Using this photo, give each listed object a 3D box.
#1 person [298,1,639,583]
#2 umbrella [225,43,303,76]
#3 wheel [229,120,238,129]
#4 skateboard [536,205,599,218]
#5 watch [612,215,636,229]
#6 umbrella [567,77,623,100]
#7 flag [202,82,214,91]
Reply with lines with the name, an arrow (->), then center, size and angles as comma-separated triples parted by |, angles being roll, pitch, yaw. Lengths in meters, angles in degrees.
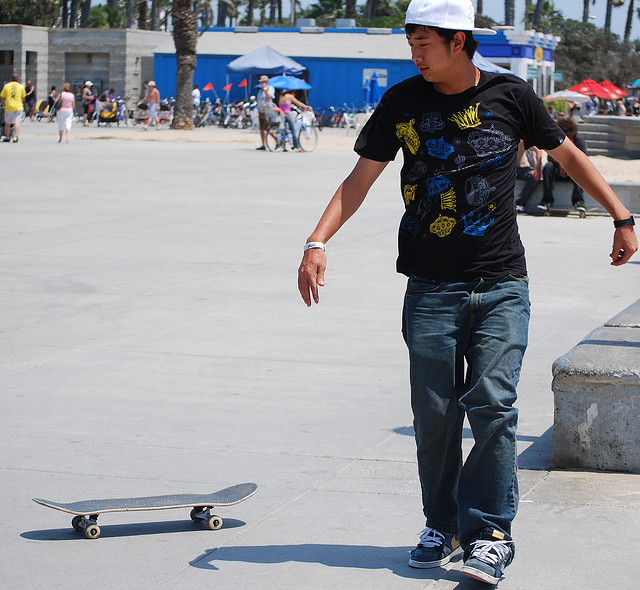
person -> 0.403, -0.007, 4.314 | 1.017, 2.106, 0.802 | 5, 16, 11
umbrella -> -2.058, -8.765, 44.108 | 2.486, 1.069, 2.952 | 4, 12, 12
wheel -> -3.346, -6.324, 43.876 | 0.450, 0.321, 0.094 | 1, -2, 8
skateboard -> 3.299, -1.107, 15.784 | 0.865, 0.107, 0.177 | 3, 12, 4
watch -> 1.182, -0.276, 4.528 | 0.096, 0.028, 0.075 | -5, 5, -3
umbrella -> 10.411, -7.601, 43.907 | 1.762, 0.479, 1.711 | 2, 5, -42
flag -> -4.812, -8.863, 50.303 | 0.457, 0.373, 0.115 | -20, -30, -10
